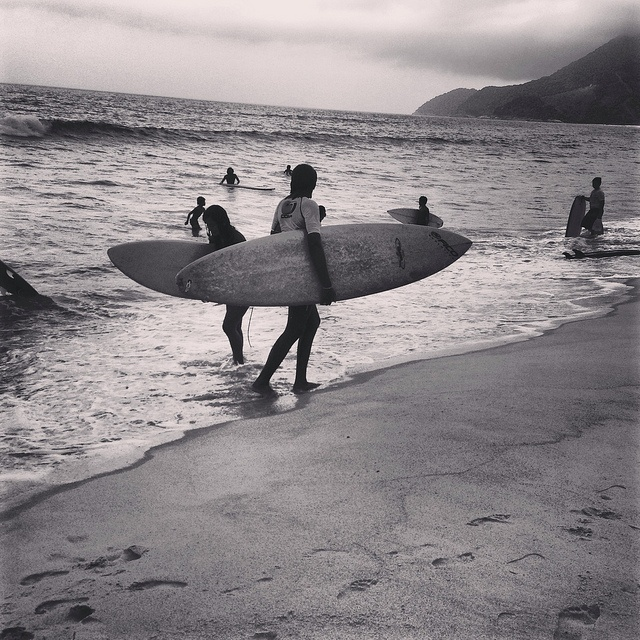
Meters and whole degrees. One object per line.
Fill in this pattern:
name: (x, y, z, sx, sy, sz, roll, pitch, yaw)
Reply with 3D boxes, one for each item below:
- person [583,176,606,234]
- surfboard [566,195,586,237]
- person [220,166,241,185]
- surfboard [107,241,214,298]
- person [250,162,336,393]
person: (3.763, -1.596, 12.452, 0.289, 0.729, 1.090, 1, 13, 16)
surfboard: (3.470, -1.387, 12.213, 0.195, 0.670, 0.153, 5, 21, 2)
person: (-1.704, -2.698, 16.926, 0.331, 0.338, 0.873, -4, 12, -5)
surfboard: (-1.120, -0.385, 5.592, 0.097, 0.293, 0.950, 35, -3, -33)
person: (-0.159, -0.221, 4.776, 0.457, 1.200, 0.431, -3, 15, 0)
